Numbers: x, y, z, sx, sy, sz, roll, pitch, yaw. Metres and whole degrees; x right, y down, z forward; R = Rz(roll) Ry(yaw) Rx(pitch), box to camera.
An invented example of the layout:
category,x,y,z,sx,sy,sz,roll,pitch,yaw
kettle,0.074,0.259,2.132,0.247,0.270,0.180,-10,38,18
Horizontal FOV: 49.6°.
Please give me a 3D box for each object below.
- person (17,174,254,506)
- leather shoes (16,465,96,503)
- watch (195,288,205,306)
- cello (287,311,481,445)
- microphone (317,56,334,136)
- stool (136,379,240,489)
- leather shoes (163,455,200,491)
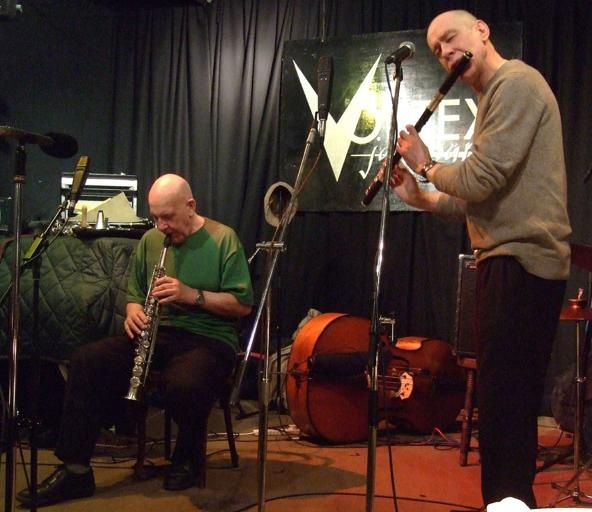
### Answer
category,x,y,z,sx,sy,sz,roll,pitch,yaw
person,-0.723,0.389,3.350,0.718,1.927,0.877,1,1,-2
leather shoes,-1.092,1.094,3.092,0.260,0.169,0.093,4,3,-23
watch,-0.498,0.220,3.360,0.051,0.080,0.045,3,3,-20
cello,0.551,0.840,4.187,1.125,0.803,0.377,7,-2,-27
microphone,0.142,-0.787,3.121,0.070,0.409,0.084,1,3,9
stool,-0.589,0.977,3.494,0.546,0.704,0.586,4,5,-13
leather shoes,-0.564,1.106,3.232,0.089,0.131,0.275,0,-14,17
